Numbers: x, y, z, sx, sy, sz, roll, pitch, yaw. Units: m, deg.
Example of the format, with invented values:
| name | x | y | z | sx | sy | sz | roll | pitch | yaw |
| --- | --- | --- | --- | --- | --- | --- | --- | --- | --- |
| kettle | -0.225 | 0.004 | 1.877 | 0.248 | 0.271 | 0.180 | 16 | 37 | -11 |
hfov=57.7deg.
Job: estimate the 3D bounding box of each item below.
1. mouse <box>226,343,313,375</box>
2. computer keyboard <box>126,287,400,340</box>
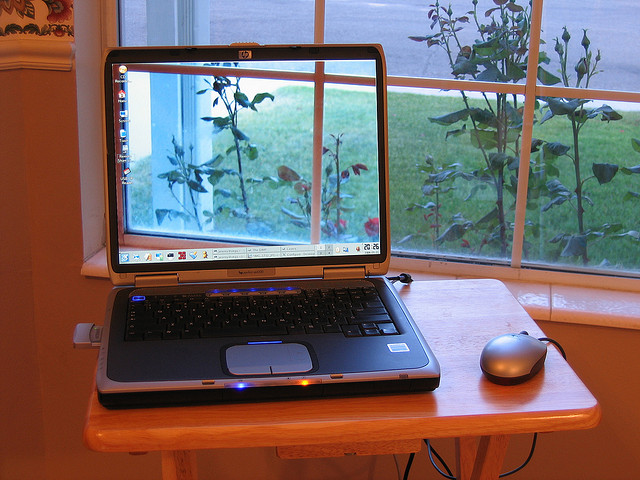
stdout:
| name | x | y | z | sx | sy | sz | roll | pitch | yaw |
| --- | --- | --- | --- | --- | --- | --- | --- | --- | --- |
| mouse | -0.095 | 0.222 | 1.077 | 0.108 | 0.010 | 0.064 | -2 | 32 | -8 |
| computer keyboard | -0.121 | 0.152 | 1.189 | 0.543 | 0.049 | 0.151 | -3 | 19 | -5 |
